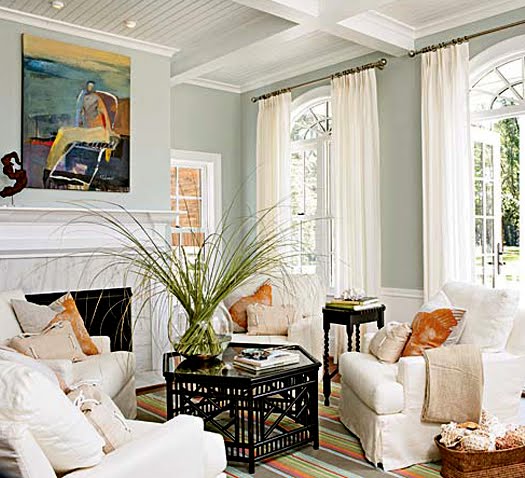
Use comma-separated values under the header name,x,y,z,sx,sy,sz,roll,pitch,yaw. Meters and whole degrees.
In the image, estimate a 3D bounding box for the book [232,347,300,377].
name,x,y,z,sx,sy,sz,roll,pitch,yaw
book,0.020,0.719,2.694,0.453,0.082,0.311,-1,-1,-40

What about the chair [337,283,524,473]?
name,x,y,z,sx,sy,sz,roll,pitch,yaw
chair,1.085,0.825,3.041,1.091,0.921,1.063,2,-4,-13

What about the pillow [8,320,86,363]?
name,x,y,z,sx,sy,sz,roll,pitch,yaw
pillow,-1.428,0.700,2.955,0.287,0.106,0.305,38,22,33

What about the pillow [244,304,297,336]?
name,x,y,z,sx,sy,sz,roll,pitch,yaw
pillow,0.088,0.747,4.043,0.562,0.330,0.170,9,-30,-29

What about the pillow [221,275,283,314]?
name,x,y,z,sx,sy,sz,roll,pitch,yaw
pillow,-0.125,0.597,4.272,0.440,0.125,0.392,-23,24,-20

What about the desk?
name,x,y,z,sx,sy,sz,roll,pitch,yaw
desk,0.634,0.944,3.769,0.413,0.618,0.341,-4,-15,-14

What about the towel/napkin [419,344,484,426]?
name,x,y,z,sx,sy,sz,roll,pitch,yaw
towel/napkin,1.091,0.826,2.580,0.421,0.402,0.153,-3,-4,-4
